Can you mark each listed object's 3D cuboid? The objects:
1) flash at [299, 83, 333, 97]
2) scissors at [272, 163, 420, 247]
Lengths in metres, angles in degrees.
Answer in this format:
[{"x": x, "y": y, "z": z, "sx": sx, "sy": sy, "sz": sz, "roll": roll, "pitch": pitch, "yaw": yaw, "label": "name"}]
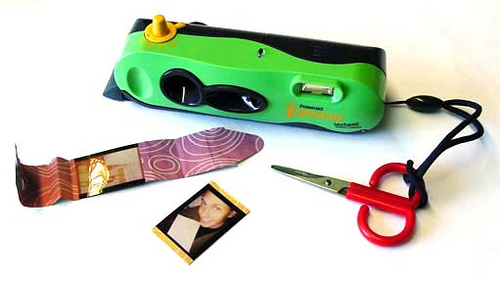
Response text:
[{"x": 0.205, "y": -0.163, "z": 1.311, "sx": 0.073, "sy": 0.016, "sz": 0.049, "roll": 6, "pitch": 28, "yaw": -1, "label": "flash"}, {"x": 0.281, "y": 0.169, "z": 1.290, "sx": 0.431, "sy": 0.179, "sz": 0.196, "roll": 4, "pitch": 30, "yaw": 14, "label": "scissors"}]
